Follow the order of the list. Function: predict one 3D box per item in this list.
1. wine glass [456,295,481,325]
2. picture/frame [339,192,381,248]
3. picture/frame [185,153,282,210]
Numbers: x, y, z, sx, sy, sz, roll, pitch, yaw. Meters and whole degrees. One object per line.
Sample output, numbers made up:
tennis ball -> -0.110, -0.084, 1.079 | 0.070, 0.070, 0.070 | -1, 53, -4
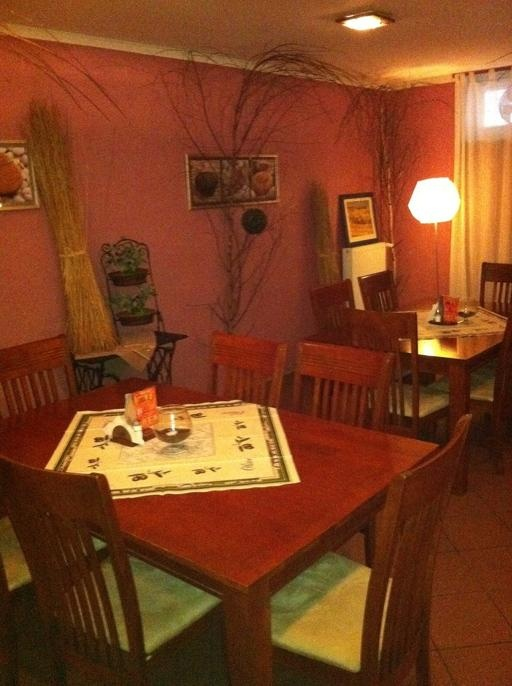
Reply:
wine glass -> 1.201, -0.189, 3.060 | 0.171, 0.153, 0.155 | -3, 13, -2
picture/frame -> 0.995, -1.158, 5.094 | 0.030, 0.458, 0.551 | 1, 16, 40
picture/frame -> -0.165, -1.177, 3.907 | 0.849, 0.345, 0.010 | 10, 19, 35
